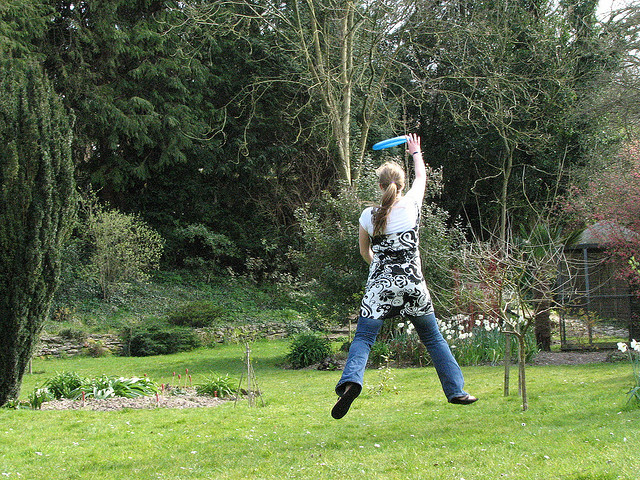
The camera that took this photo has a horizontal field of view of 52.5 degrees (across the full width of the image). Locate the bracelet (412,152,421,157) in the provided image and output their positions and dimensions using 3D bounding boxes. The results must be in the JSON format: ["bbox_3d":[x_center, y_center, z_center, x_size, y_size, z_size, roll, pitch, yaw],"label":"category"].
[{"bbox_3d":[1.286,-1.157,8.665,0.114,0.042,0.059,-2,0,-14],"label":"bracelet"}]

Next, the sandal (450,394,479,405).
[{"bbox_3d":[1.876,2.101,8.313,0.394,0.161,0.140,-2,-4,1],"label":"sandal"}]
